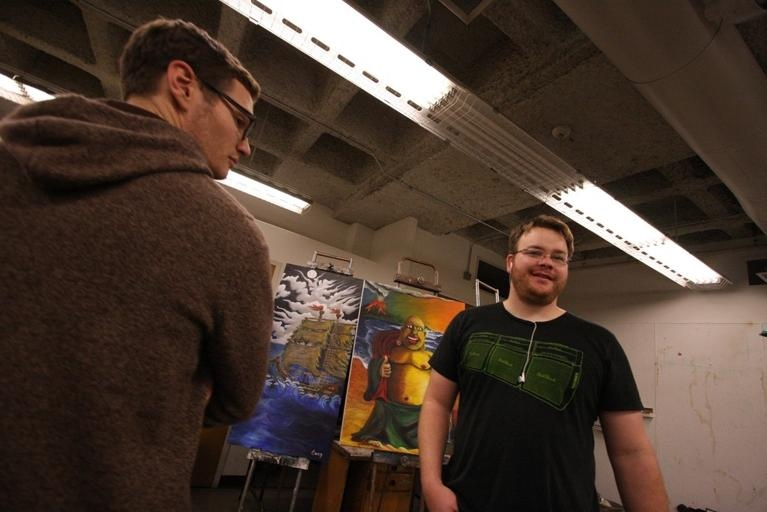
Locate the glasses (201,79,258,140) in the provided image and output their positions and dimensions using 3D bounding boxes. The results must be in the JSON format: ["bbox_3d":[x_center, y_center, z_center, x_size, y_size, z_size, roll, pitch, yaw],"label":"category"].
[{"bbox_3d":[-0.598,-0.561,1.822,0.055,0.176,0.172,-32,-16,-1],"label":"glasses"}]

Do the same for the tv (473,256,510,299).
[{"bbox_3d":[1.573,0.188,6.744,0.831,0.460,0.017,-19,26,-35],"label":"tv"}]
